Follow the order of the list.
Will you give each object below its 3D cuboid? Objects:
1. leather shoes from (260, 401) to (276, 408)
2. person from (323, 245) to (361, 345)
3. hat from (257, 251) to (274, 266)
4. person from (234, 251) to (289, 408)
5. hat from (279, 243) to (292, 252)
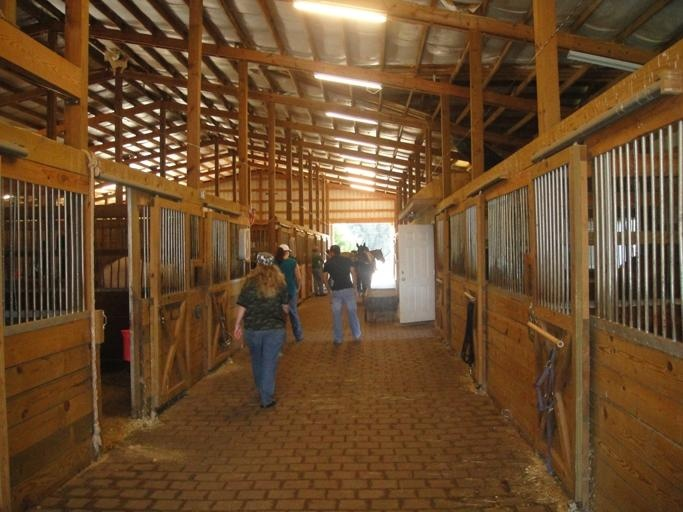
[{"bbox_3d":[-0.796,1.618,5.771,0.166,0.077,0.060,-1,4,-35],"label":"leather shoes"},{"bbox_3d":[0.020,0.641,8.698,0.587,1.604,0.869,-1,5,1],"label":"person"},{"bbox_3d":[-0.854,0.030,5.951,0.132,0.143,0.174,2,-9,-12],"label":"hat"},{"bbox_3d":[-0.855,0.822,5.765,0.557,1.629,0.483,-2,5,-7],"label":"person"},{"bbox_3d":[-0.910,-0.127,8.366,0.241,0.144,0.189,1,3,5],"label":"hat"}]
